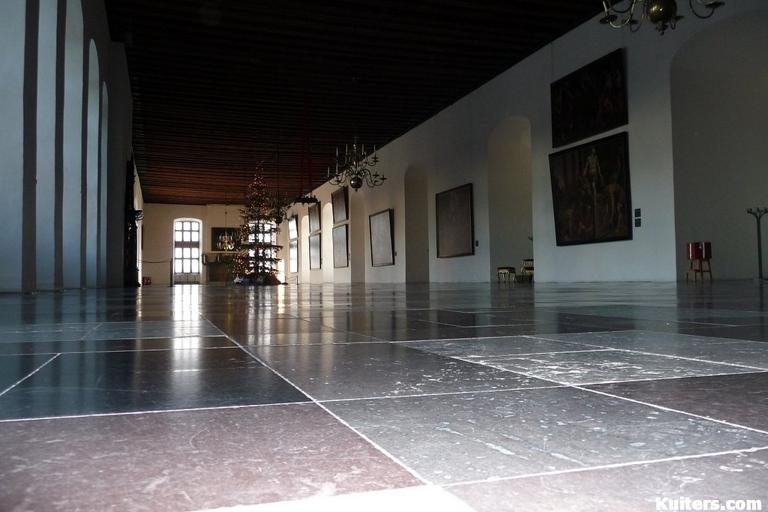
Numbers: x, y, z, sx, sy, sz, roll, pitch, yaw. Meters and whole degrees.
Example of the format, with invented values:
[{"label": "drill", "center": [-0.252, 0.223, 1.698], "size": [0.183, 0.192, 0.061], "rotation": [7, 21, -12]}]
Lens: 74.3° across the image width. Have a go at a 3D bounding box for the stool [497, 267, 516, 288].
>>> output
[{"label": "stool", "center": [3.466, 0.672, 14.428], "size": [0.497, 0.478, 0.463], "rotation": [1, 4, 15]}]
